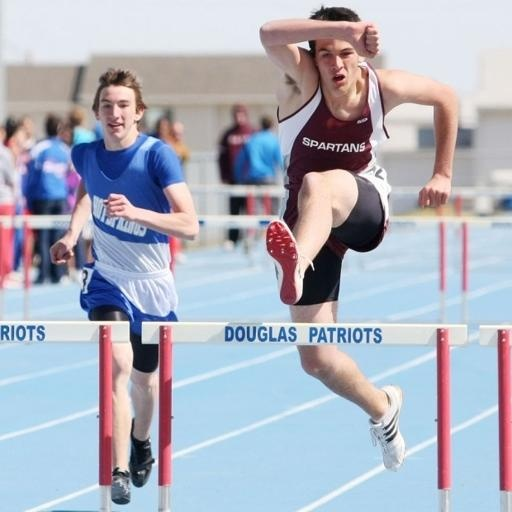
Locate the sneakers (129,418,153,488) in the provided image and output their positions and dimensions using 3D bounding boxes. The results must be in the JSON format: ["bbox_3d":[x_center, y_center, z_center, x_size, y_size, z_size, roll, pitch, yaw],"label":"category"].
[{"bbox_3d":[-0.517,0.904,4.585,0.079,0.264,0.107,-4,12,0],"label":"sneakers"}]

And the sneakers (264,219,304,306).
[{"bbox_3d":[0.126,0.014,3.936,0.118,0.353,0.133,-7,-3,35],"label":"sneakers"}]

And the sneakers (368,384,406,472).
[{"bbox_3d":[0.584,0.784,4.597,0.177,0.424,0.133,-5,0,-44],"label":"sneakers"}]

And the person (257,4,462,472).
[{"bbox_3d":[0.457,-0.054,4.293,0.976,2.110,0.748,-2,4,-14],"label":"person"}]

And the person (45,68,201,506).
[{"bbox_3d":[-0.577,0.121,4.446,0.563,1.951,0.942,-2,4,-22],"label":"person"}]
